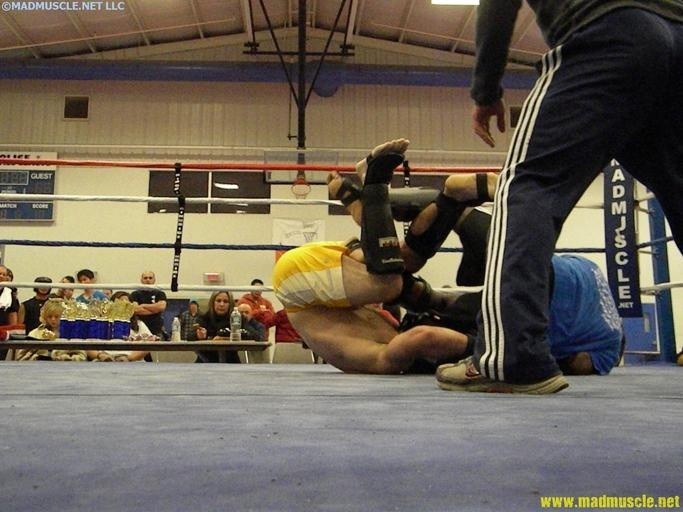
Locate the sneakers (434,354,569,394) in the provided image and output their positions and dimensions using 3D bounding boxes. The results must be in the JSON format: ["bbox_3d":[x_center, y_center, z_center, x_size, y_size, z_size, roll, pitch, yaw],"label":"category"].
[{"bbox_3d":[0.380,0.266,1.406,0.307,0.120,0.113,0,-8,28],"label":"sneakers"}]

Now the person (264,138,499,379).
[{"bbox_3d":[0.083,0.001,2.400,1.061,0.910,0.938,-3,-5,-6],"label":"person"}]
